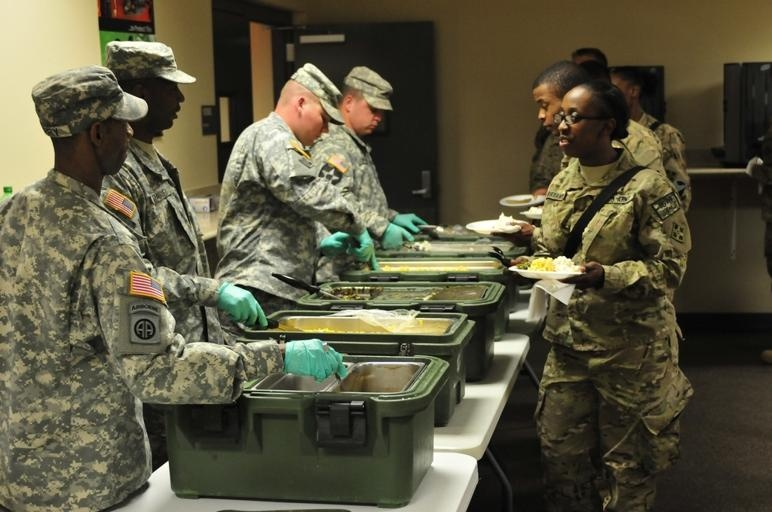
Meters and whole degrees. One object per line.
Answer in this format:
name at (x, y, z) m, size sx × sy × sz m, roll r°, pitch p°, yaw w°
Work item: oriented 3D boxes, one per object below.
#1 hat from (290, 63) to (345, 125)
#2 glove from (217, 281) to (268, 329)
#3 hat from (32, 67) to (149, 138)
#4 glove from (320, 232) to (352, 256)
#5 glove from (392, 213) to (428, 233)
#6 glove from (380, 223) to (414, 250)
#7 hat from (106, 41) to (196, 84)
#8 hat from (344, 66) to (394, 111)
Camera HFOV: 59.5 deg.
hat at (-0.342, -0.849, 3.454) m, size 0.389 × 0.153 × 0.238 m, roll 32°, pitch 5°, yaw -12°
glove at (-0.567, 0.199, 2.670) m, size 0.217 × 0.149 × 0.084 m, roll 42°, pitch -29°, yaw -23°
hat at (-0.880, -0.476, 2.014) m, size 0.332 × 0.135 × 0.219 m, roll -21°, pitch 35°, yaw -27°
glove at (-0.275, -0.065, 3.575) m, size 0.122 × 0.062 × 0.151 m, roll -5°, pitch 2°, yaw -28°
glove at (0.144, -0.205, 4.183) m, size 0.177 × 0.050 × 0.129 m, roll 19°, pitch 4°, yaw -3°
glove at (0.047, -0.120, 3.759) m, size 0.189 × 0.144 × 0.090 m, roll -13°, pitch 16°, yaw -38°
hat at (-0.930, -0.753, 2.689) m, size 0.315 × 0.127 × 0.192 m, roll -6°, pitch 21°, yaw -16°
hat at (-0.138, -1.130, 4.438) m, size 0.372 × 0.169 × 0.250 m, roll 24°, pitch 15°, yaw -7°
